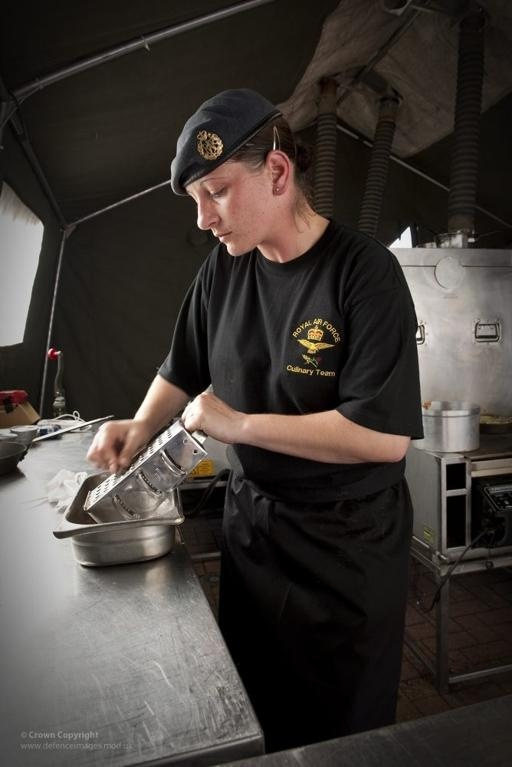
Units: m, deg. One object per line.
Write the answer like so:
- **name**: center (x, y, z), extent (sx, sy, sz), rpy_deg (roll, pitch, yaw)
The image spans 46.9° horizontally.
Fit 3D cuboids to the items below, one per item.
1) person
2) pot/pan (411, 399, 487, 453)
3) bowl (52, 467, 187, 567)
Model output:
- **person**: center (0.035, 0.152, 1.443), extent (0.733, 1.592, 0.570), rpy_deg (-1, 12, 23)
- **pot/pan**: center (0.809, 0.188, 2.514), extent (0.307, 0.193, 0.316), rpy_deg (0, -1, 10)
- **bowl**: center (-0.303, 0.307, 1.348), extent (0.248, 0.098, 0.382), rpy_deg (-4, 4, -11)
